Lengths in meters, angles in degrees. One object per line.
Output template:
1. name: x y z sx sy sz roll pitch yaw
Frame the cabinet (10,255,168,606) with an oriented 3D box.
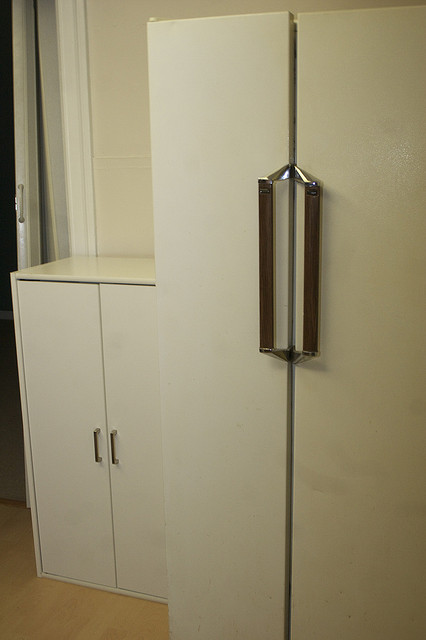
1. cabinet: -0.368 0.308 2.335 0.565 1.301 0.485 2 35 -6
